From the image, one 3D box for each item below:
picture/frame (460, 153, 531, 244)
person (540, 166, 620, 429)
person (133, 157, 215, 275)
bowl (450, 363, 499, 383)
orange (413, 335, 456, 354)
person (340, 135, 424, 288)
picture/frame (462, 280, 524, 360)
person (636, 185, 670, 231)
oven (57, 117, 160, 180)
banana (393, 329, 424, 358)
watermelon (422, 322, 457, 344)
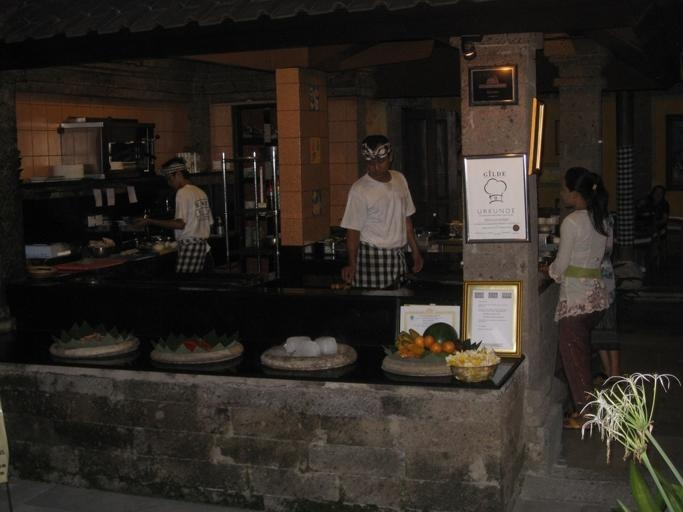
[{"bbox_3d":[1.081,-0.402,4.569,0.601,0.792,0.053,-1,3,12],"label":"picture/frame"},{"bbox_3d":[1.935,0.273,5.363,0.409,1.929,0.497,4,11,30],"label":"person"},{"bbox_3d":[-1.965,-0.184,7.850,0.932,1.861,0.736,-7,18,-32],"label":"person"},{"bbox_3d":[0.792,0.693,3.960,0.271,0.130,0.158,-1,11,4],"label":"bowl"},{"bbox_3d":[0.582,0.550,4.107,0.251,0.089,0.101,1,11,13],"label":"orange"},{"bbox_3d":[0.310,-0.370,5.688,0.590,1.296,0.274,-4,10,-15],"label":"person"},{"bbox_3d":[1.031,0.443,4.486,0.503,0.628,0.049,2,5,7],"label":"picture/frame"},{"bbox_3d":[5.873,-0.837,12.494,0.525,0.815,1.789,3,12,25],"label":"person"},{"bbox_3d":[-3.107,-1.449,8.917,0.716,0.757,1.163,1,9,21],"label":"oven"},{"bbox_3d":[0.436,0.551,4.172,0.144,0.086,0.173,0,53,20],"label":"banana"},{"bbox_3d":[0.631,0.487,4.188,0.149,0.084,0.122,7,-8,-32],"label":"watermelon"}]
